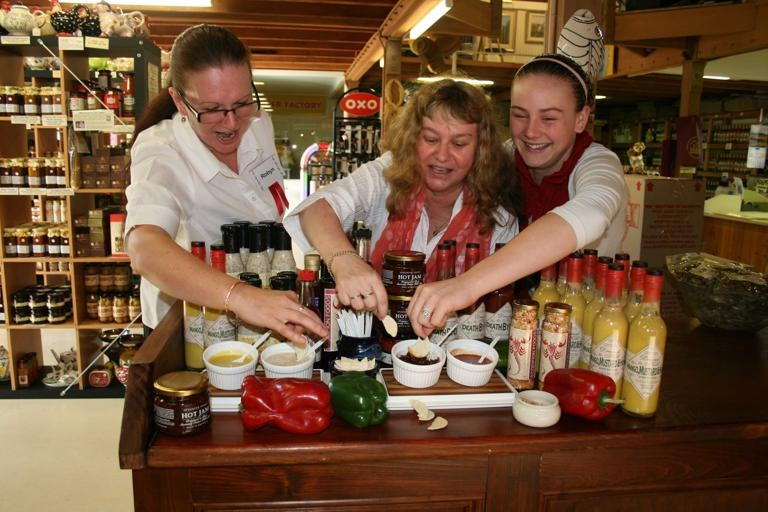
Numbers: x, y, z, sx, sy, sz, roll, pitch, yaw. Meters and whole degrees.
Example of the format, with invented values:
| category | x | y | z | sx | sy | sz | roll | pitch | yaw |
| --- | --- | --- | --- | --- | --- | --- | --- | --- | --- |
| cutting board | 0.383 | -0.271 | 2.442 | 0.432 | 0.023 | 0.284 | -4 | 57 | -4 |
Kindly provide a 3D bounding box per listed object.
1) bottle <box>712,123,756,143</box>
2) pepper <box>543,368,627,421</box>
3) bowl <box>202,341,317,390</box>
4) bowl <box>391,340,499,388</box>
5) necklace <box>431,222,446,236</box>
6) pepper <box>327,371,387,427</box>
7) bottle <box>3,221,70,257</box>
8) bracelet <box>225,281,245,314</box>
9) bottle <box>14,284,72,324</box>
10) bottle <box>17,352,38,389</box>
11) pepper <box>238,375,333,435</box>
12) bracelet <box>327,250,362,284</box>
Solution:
| category | x | y | z | sx | sy | sz | roll | pitch | yaw |
| --- | --- | --- | --- | --- | --- | --- | --- | --- | --- |
| bottle | 5.695 | -2.020 | 10.070 | 0.165 | 0.306 | 0.727 | -3 | 11 | -13 |
| pepper | 0.845 | 0.613 | 2.637 | 0.222 | 0.224 | 0.369 | -2 | -3 | -42 |
| bowl | -0.543 | 0.472 | 2.653 | 0.407 | 0.101 | 0.218 | 2 | 11 | -6 |
| bowl | 0.271 | 0.475 | 2.692 | 0.410 | 0.101 | 0.212 | -2 | 28 | -2 |
| necklace | 0.302 | -0.157 | 3.543 | 0.070 | 0.086 | 0.023 | 5 | -21 | 17 |
| pepper | -0.101 | 0.640 | 2.556 | 0.209 | 0.194 | 0.244 | 3 | 47 | -35 |
| bottle | -3.140 | -0.127 | 5.554 | 0.585 | 0.271 | 0.184 | -2 | 12 | -11 |
| bracelet | -0.629 | 0.179 | 2.628 | 0.031 | 0.111 | 0.100 | 17 | 32 | -1 |
| bottle | -3.121 | 0.444 | 5.581 | 0.384 | 0.219 | 0.371 | 0 | 1 | 0 |
| bottle | -3.266 | 1.063 | 5.595 | 0.109 | 0.286 | 0.318 | 2 | 3 | -11 |
| pepper | -0.396 | 0.608 | 2.462 | 0.330 | 0.196 | 0.138 | 3 | -19 | -2 |
| bracelet | -0.193 | 0.051 | 2.832 | 0.151 | 0.142 | 0.040 | -3 | -13 | -36 |
